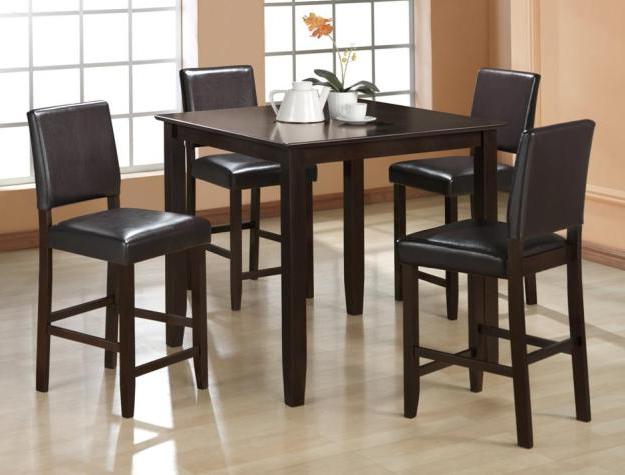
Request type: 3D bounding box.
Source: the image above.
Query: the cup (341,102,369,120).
[{"bbox_3d":[0.187,-0.584,2.707,0.103,0.074,0.085,-6,16,-3],"label":"cup"}]

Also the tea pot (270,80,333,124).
[{"bbox_3d":[-0.066,-0.617,2.796,0.236,0.148,0.203,4,11,26],"label":"tea pot"}]

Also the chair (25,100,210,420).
[{"bbox_3d":[-0.769,0.052,2.404,0.673,1.131,0.507,6,16,25],"label":"chair"}]

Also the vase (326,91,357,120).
[{"bbox_3d":[0.129,-0.623,2.843,0.112,0.104,0.131,0,3,-4],"label":"vase"}]
